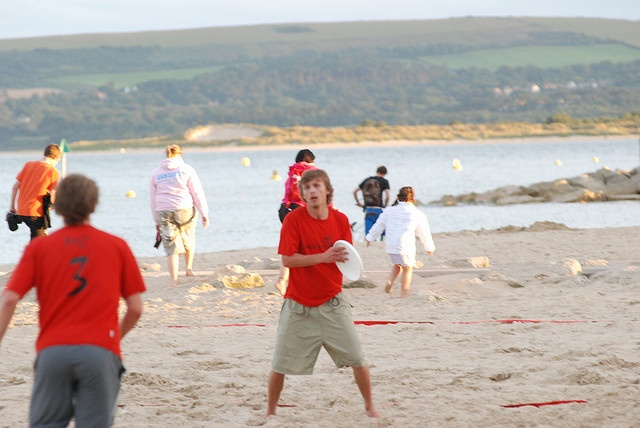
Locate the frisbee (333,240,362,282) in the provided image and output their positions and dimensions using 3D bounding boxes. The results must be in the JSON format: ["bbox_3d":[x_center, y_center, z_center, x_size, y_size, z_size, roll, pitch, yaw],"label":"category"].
[{"bbox_3d":[0.399,0.648,16.344,0.416,0.563,0.302,4,12,1],"label":"frisbee"}]

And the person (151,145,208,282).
[{"bbox_3d":[-2.414,-0.002,20.448,1.000,2.419,0.683,3,12,-6],"label":"person"}]

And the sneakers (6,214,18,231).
[{"bbox_3d":[-5.264,0.173,20.166,0.145,0.347,0.268,-18,16,-25],"label":"sneakers"}]
